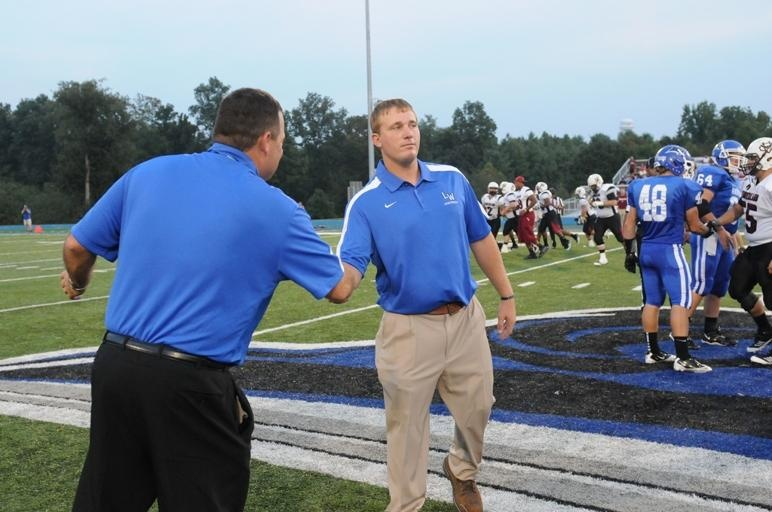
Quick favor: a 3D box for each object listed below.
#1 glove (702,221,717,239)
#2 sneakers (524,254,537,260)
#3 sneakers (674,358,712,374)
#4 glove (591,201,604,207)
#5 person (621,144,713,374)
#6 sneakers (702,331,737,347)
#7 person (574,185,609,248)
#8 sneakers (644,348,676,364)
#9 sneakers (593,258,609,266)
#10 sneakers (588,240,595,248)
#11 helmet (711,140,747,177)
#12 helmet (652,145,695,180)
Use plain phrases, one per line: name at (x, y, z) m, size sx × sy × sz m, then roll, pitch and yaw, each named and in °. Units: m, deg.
glove at (3.775, -0.305, 8.814) m, size 0.160 × 0.184 × 0.201 m, roll 3°, pitch 12°, yaw 9°
sneakers at (3.694, 0.006, 19.487) m, size 0.387 × 0.147 × 0.118 m, roll 4°, pitch 18°, yaw -1°
sneakers at (3.322, 1.167, 8.211) m, size 0.403 × 0.147 × 0.158 m, roll 1°, pitch 6°, yaw 8°
glove at (4.978, -1.219, 17.817) m, size 0.065 × 0.181 × 0.505 m, roll -5°, pitch 12°, yaw -13°
person at (3.184, -0.006, 8.498) m, size 0.769 × 2.391 × 1.235 m, roll -1°, pitch 12°, yaw 4°
sneakers at (4.158, 1.002, 9.305) m, size 0.467 × 0.170 × 0.169 m, roll 0°, pitch 6°, yaw 30°
person at (5.963, -1.129, 22.476) m, size 0.703 × 1.826 × 0.686 m, roll -3°, pitch 0°, yaw 29°
sneakers at (3.132, 1.111, 8.552) m, size 0.403 × 0.143 × 0.130 m, roll -2°, pitch 10°, yaw -2°
sneakers at (4.972, 0.098, 17.530) m, size 0.304 × 0.220 × 0.507 m, roll 2°, pitch 12°, yaw 15°
sneakers at (6.095, -0.368, 22.450) m, size 0.162 × 0.253 × 0.359 m, roll -5°, pitch 19°, yaw -5°
helmet at (4.404, -1.282, 9.750) m, size 0.373 × 0.401 × 0.468 m, roll -8°, pitch 17°, yaw -41°
helmet at (3.306, -1.046, 8.611) m, size 0.466 × 0.315 × 0.322 m, roll 7°, pitch -3°, yaw 11°
